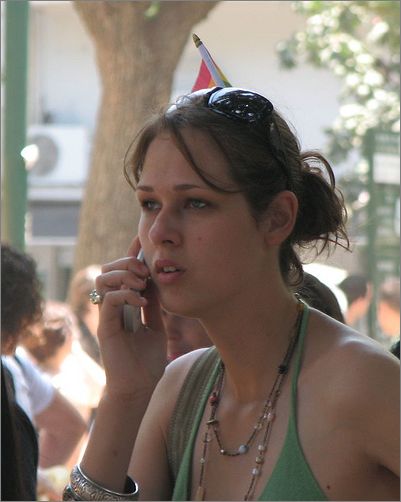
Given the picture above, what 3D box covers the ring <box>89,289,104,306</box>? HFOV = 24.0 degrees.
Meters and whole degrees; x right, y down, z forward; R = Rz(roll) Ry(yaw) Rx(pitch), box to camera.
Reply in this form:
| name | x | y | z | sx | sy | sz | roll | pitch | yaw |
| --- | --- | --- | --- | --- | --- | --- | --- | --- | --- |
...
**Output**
| name | x | y | z | sx | sy | sz | roll | pitch | yaw |
| --- | --- | --- | --- | --- | --- | --- | --- | --- | --- |
| ring | -0.367 | 0.168 | 3.345 | 0.055 | 0.029 | 0.043 | -5 | 35 | -5 |
